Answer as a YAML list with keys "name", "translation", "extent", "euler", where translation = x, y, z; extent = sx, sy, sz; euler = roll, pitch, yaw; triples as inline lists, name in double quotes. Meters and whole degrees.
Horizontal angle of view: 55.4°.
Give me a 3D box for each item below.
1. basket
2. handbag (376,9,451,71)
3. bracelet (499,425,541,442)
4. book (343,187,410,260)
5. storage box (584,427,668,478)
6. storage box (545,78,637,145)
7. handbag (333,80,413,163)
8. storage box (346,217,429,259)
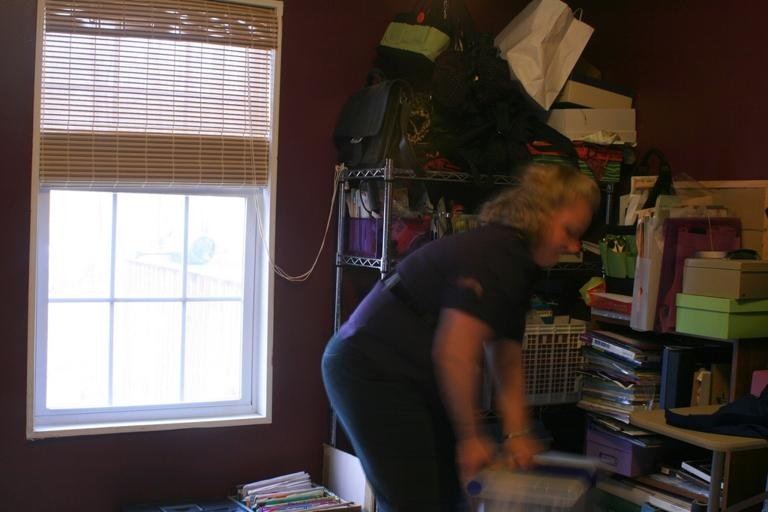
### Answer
- name: "basket"
  translation: [0.984, 0.598, 4.411]
  extent: [0.394, 0.534, 0.716]
  euler: [0, -4, -5]
- name: "handbag"
  translation: [0.172, -1.220, 4.088]
  extent: [0.412, 0.313, 0.155]
  euler: [1, -1, 5]
- name: "bracelet"
  translation: [0.593, 0.748, 3.081]
  extent: [0.132, 0.039, 0.129]
  euler: [-11, -1, -17]
- name: "book"
  translation: [-0.072, -0.189, 4.075]
  extent: [0.367, 0.496, 0.360]
  euler: [-2, 5, -38]
- name: "storage box"
  translation: [1.374, 1.084, 4.110]
  extent: [0.374, 0.250, 0.373]
  euler: [4, 3, -26]
- name: "storage box"
  translation: [1.246, -0.822, 4.360]
  extent: [0.496, 0.253, 0.367]
  euler: [7, 12, -26]
- name: "handbag"
  translation: [-0.043, -0.715, 3.956]
  extent: [0.242, 0.432, 0.421]
  euler: [11, -10, -30]
- name: "storage box"
  translation: [0.009, -0.101, 4.002]
  extent: [0.272, 0.177, 0.273]
  euler: [1, 0, -29]
